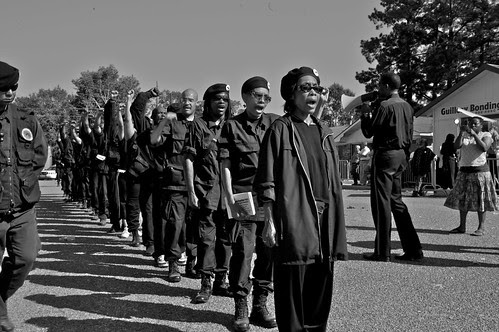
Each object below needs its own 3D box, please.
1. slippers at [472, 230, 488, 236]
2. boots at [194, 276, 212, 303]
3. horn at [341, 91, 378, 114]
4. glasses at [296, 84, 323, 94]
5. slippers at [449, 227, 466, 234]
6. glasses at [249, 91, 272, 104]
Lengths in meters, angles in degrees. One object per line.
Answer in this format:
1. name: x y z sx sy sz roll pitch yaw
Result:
1. slippers: 4.682 1.402 8.315 0.121 0.077 0.274 -2 1 -22
2. boots: -0.603 1.661 5.497 0.143 0.306 0.422 -3 -2 12
3. horn: 1.845 -1.109 6.826 0.539 0.405 0.378 -13 -17 36
4. glasses: 0.653 -0.779 4.129 0.332 0.083 0.104 -4 5 -32
5. slippers: 4.412 1.370 8.671 0.377 0.165 0.141 2 -6 5
6. glasses: 0.138 -0.839 4.977 0.260 0.143 0.077 -2 4 -15
